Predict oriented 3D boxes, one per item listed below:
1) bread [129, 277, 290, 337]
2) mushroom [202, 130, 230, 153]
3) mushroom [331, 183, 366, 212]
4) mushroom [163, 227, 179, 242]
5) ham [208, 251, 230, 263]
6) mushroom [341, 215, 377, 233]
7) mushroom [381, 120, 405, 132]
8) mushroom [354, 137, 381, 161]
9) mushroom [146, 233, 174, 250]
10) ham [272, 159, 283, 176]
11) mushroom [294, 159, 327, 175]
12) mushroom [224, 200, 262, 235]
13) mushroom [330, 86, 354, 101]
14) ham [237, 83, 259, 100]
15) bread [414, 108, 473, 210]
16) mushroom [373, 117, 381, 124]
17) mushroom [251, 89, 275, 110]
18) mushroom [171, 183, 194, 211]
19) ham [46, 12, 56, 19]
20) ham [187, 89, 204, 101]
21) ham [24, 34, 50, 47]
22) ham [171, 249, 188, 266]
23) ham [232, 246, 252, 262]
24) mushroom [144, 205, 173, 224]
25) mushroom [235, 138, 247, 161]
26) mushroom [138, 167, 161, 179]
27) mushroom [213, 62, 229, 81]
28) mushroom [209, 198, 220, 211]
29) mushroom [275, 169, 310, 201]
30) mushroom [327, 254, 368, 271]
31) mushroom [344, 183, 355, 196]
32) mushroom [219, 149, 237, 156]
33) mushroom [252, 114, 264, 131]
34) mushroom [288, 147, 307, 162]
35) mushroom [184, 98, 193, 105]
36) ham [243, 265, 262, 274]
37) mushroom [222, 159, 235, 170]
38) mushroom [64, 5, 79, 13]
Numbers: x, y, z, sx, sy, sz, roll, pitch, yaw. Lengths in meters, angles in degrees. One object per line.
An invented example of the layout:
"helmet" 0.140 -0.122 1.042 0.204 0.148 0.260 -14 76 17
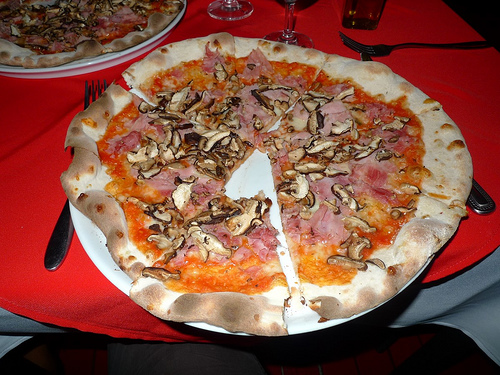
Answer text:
"bread" -0.258 0.719 2.995 0.703 0.152 0.538 -8 20 -23
"mushroom" -0.238 -0.348 3.754 0.288 0.075 0.078 -41 35 -27
"mushroom" 0.645 0.063 3.360 0.120 0.070 0.240 -42 73 -15
"mushroom" -0.524 0.305 3.313 0.096 0.028 0.084 12 60 -2
"ham" -0.202 0.453 3.245 0.131 0.022 0.055 14 74 6
"mushroom" 0.711 0.240 3.278 0.162 0.036 0.099 34 87 12
"mushroom" 1.047 -0.447 3.658 0.130 0.030 0.074 -24 56 5
"mushroom" 0.866 -0.273 3.628 0.240 0.064 0.095 -43 54 -8
"mushroom" -0.585 0.352 3.291 0.155 0.039 0.100 37 78 12
"ham" 0.196 -0.144 3.668 0.063 0.024 0.099 0 66 15
"mushroom" 0.426 -0.144 3.572 0.165 0.037 0.101 -2 57 12
"mushroom" -0.029 0.200 3.387 0.150 0.058 0.289 42 79 13
"mushroom" 0.675 -0.715 3.860 0.236 0.061 0.061 -26 80 -10
"ham" -0.017 -0.759 3.994 0.172 0.042 0.090 -29 70 -13
"bread" 1.313 -0.171 3.405 0.554 0.468 0.599 9 29 12
"mushroom" 0.937 -0.491 3.707 0.044 0.011 0.039 -1 60 1
"mushroom" 0.093 -0.682 3.985 0.187 0.055 0.124 38 69 -3
"mushroom" -0.469 0.060 3.483 0.113 0.057 0.183 24 59 -12
"ham" -1.847 -1.595 4.679 0.069 0.018 0.065 21 50 16
"ham" -0.432 -0.740 3.966 0.093 0.024 0.082 -6 57 3
"ham" -1.860 -1.277 4.388 0.154 0.042 0.139 10 44 -26
"ham" -0.439 0.448 3.247 0.068 0.020 0.123 38 78 12
"ham" -0.047 0.438 3.276 0.094 0.025 0.106 27 76 9
"mushroom" -0.611 0.181 3.380 0.169 0.032 0.099 26 59 10
"mushroom" -0.074 -0.282 3.709 0.105 0.039 0.136 -8 71 -9
"mushroom" -0.699 -0.103 3.537 0.119 0.042 0.074 -27 81 -22
"mushroom" -0.236 -0.925 4.048 0.102 0.034 0.133 -10 86 -8
"mushroom" -0.243 0.112 3.435 0.072 0.026 0.065 -2 61 21
"mushroom" 0.319 -0.023 3.577 0.235 0.071 0.208 -14 72 3
"mushroom" 0.610 0.472 3.181 0.209 0.052 0.090 11 49 20
"mushroom" 0.680 0.013 3.442 0.045 0.039 0.073 -37 76 -3
"mushroom" -0.151 -0.261 3.690 0.090 0.019 0.052 16 38 -11
"mushroom" 0.062 -0.500 3.872 0.078 0.031 0.115 -15 56 3
"mushroom" 0.345 -0.240 3.662 0.121 0.045 0.086 -32 65 -7
"mushroom" -0.485 -0.665 3.918 0.046 0.011 0.042 14 50 7
"ham" 0.018 0.525 3.235 0.107 0.024 0.043 -28 75 -6
"mushroom" -0.156 -0.173 3.661 0.073 0.018 0.066 17 61 -23
"mushroom" -1.656 -1.651 4.676 0.101 0.026 0.090 -1 46 -26
